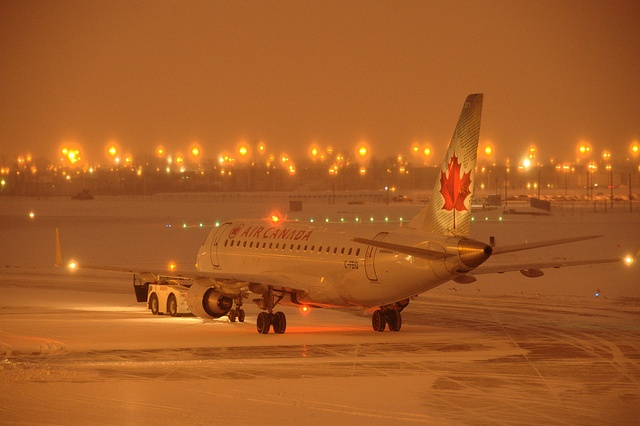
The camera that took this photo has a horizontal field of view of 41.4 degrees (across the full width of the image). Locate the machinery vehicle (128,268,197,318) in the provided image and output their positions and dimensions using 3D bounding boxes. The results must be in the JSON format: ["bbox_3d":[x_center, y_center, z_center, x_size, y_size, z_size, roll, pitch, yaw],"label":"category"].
[{"bbox_3d":[-7.589,4.423,46.229,2.803,2.070,5.053,-2,-1,-34],"label":"machinery vehicle"}]

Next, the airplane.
[{"bbox_3d":[0.566,0.196,37.325,20.215,9.973,5.991,2,-1,37],"label":"airplane"}]
